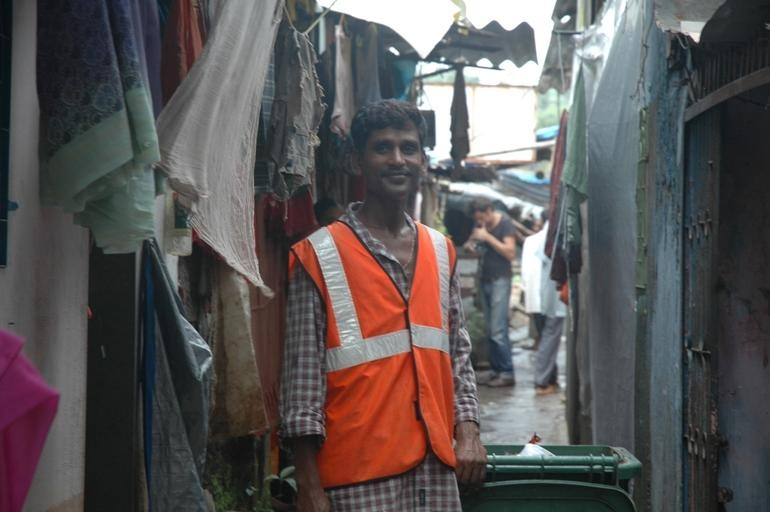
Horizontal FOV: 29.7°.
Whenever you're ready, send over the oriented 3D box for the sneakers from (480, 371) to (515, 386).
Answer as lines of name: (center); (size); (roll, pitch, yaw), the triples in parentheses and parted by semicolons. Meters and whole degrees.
sneakers: (1.172, 1.287, 15.525); (0.425, 0.210, 0.156); (5, 0, 4)
